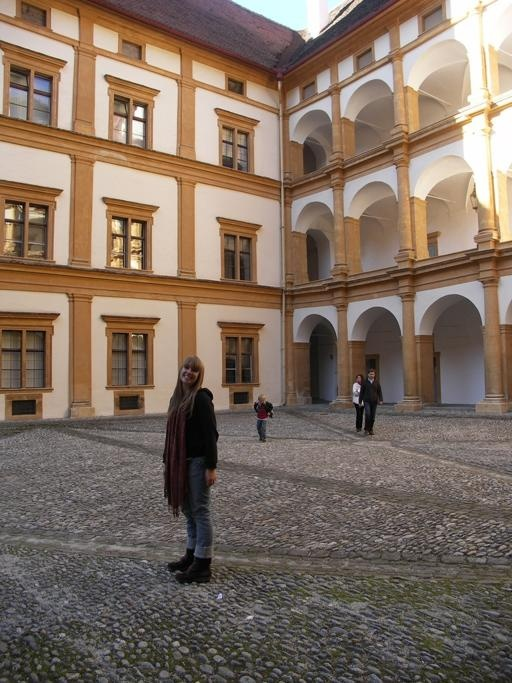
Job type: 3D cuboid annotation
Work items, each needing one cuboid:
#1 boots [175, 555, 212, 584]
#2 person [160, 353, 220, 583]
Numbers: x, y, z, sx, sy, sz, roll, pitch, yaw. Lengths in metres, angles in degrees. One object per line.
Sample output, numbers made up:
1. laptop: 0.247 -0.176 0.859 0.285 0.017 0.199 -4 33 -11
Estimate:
1. boots: -0.383 1.385 3.545 0.207 0.134 0.190 0 -4 -2
2. person: -0.416 0.782 3.706 0.300 1.362 0.437 2 -4 -19
